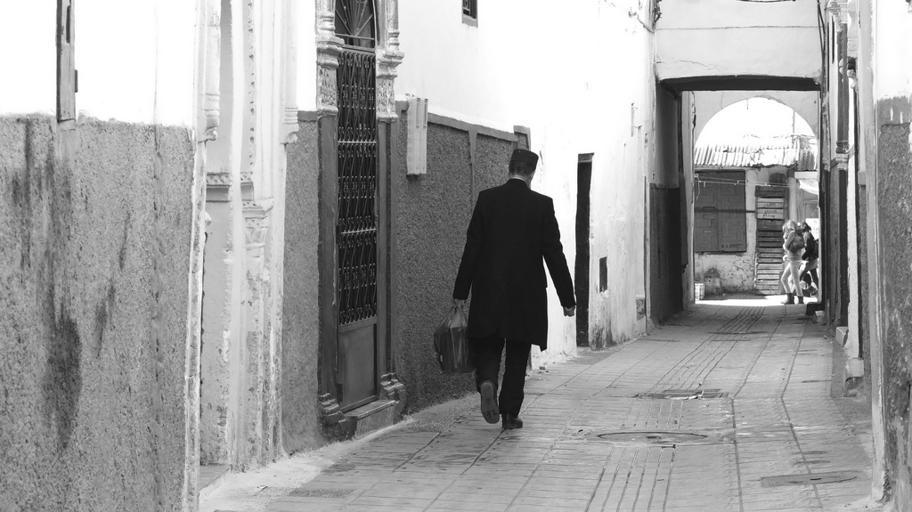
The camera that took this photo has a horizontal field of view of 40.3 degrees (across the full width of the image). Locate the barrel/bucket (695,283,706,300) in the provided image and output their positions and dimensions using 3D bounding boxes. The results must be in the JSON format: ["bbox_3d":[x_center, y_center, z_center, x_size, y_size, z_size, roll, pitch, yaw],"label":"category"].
[{"bbox_3d":[6.910,1.041,34.947,0.454,0.510,0.464,0,-2,0],"label":"barrel/bucket"}]

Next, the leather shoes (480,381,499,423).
[{"bbox_3d":[0.314,1.436,12.047,0.147,0.426,0.165,-9,-4,4],"label":"leather shoes"}]

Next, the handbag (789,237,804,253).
[{"bbox_3d":[8.599,-0.258,31.262,0.430,0.397,0.485,-1,2,4],"label":"handbag"}]

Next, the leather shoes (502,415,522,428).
[{"bbox_3d":[0.563,1.683,12.457,0.192,0.193,0.099,-3,4,-26],"label":"leather shoes"}]

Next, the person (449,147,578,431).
[{"bbox_3d":[0.549,0.328,12.422,1.118,2.808,0.802,-1,2,-19],"label":"person"}]
